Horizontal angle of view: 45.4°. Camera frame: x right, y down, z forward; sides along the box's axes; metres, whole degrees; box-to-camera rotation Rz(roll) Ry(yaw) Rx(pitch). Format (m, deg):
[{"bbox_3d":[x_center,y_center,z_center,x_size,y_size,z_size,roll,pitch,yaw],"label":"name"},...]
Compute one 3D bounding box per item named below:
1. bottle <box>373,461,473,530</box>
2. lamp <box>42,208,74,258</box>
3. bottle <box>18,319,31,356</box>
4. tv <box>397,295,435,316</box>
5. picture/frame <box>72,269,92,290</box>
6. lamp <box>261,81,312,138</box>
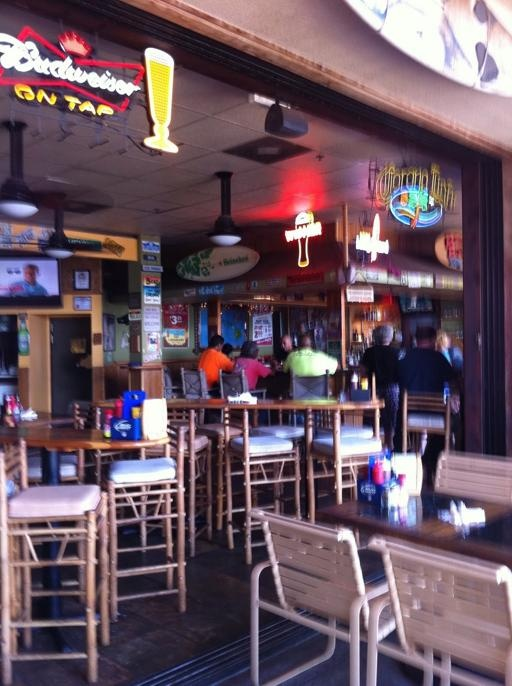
[{"bbox_3d":[0.609,0.553,2.320,0.228,0.129,0.324,2,-3,-15],"label":"bottle"},{"bbox_3d":[-2.387,-1.257,7.082,0.329,0.500,0.789,-3,2,-17],"label":"lamp"},{"bbox_3d":[-3.808,-0.081,9.660,0.180,0.556,0.143,-3,2,-21],"label":"bottle"},{"bbox_3d":[2.669,-0.591,9.747,0.344,0.211,0.338,0,6,-6],"label":"tv"},{"bbox_3d":[-2.916,-0.984,9.866,0.290,0.279,0.064,-3,2,-8],"label":"picture/frame"},{"bbox_3d":[0.176,-1.270,3.520,0.216,0.229,0.135,-11,35,-31],"label":"lamp"}]
